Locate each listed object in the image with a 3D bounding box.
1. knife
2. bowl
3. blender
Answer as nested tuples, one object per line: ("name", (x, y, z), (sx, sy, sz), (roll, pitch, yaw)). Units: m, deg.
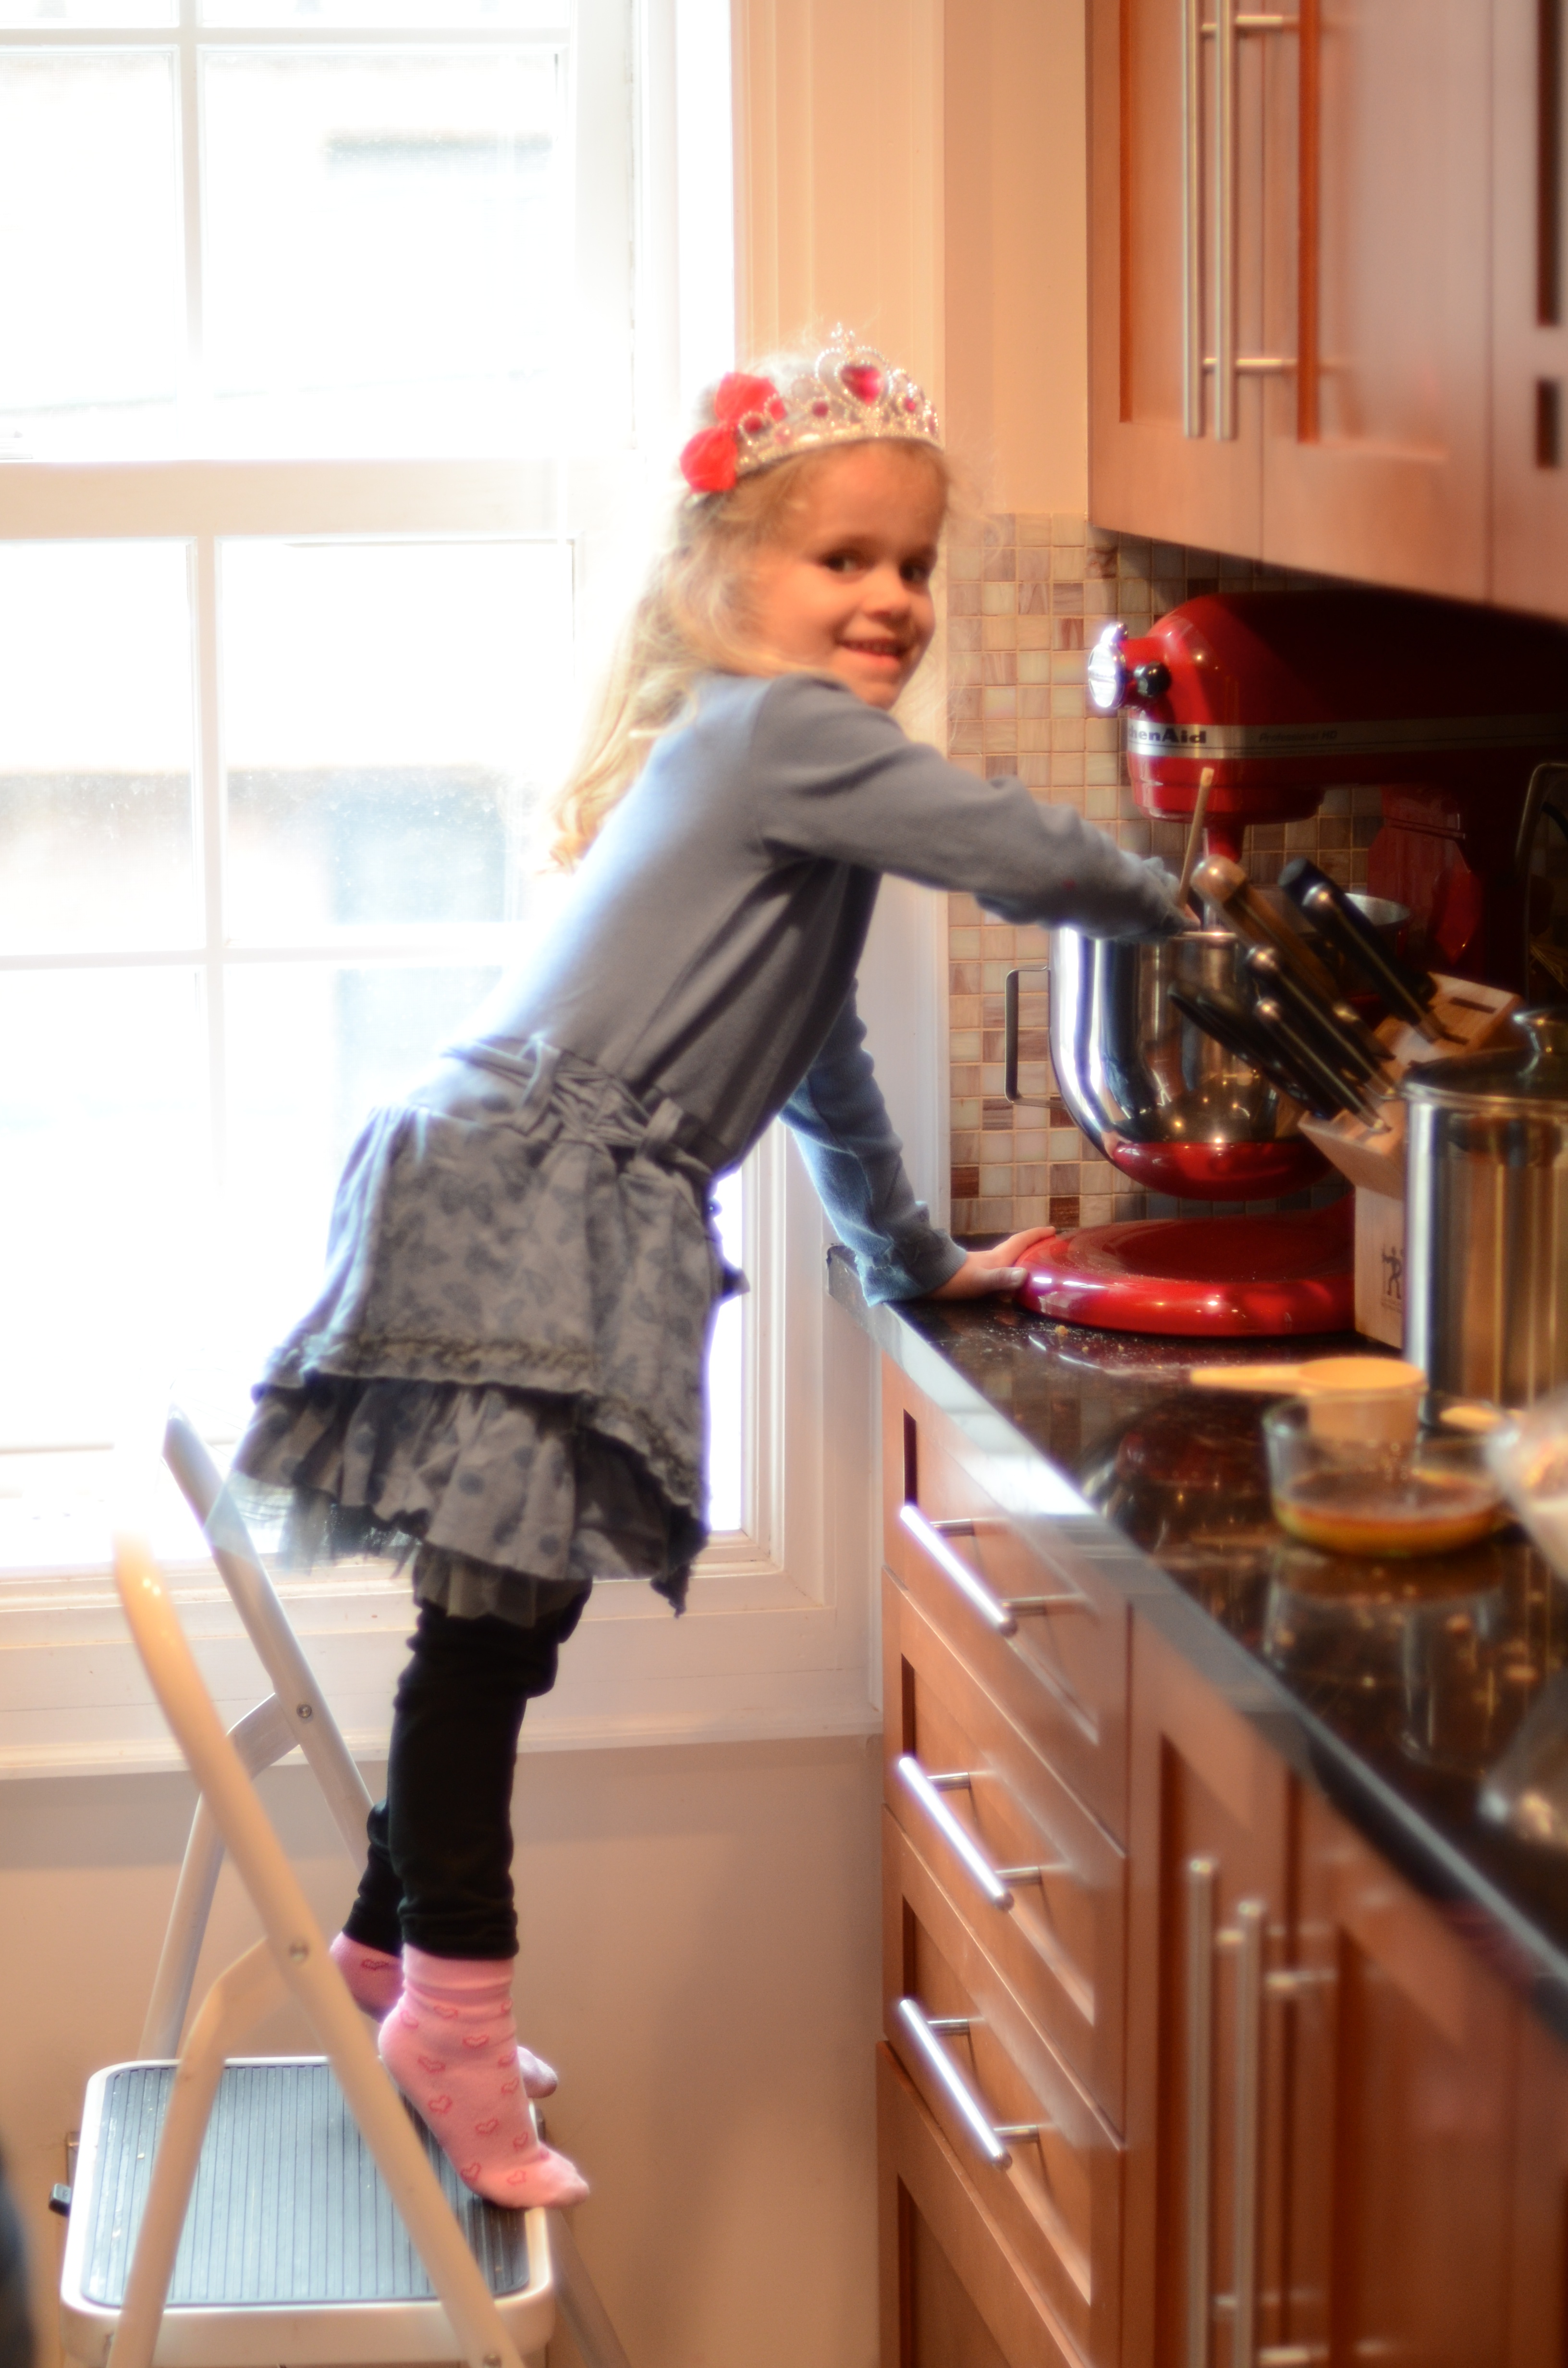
("knife", (0.301, -0.116, 1.249), (0.061, 0.172, 0.129), (-4, 44, 43))
("bowl", (0.272, 0.147, 0.979), (0.112, 0.059, 0.134), (1, -3, -5))
("blender", (0.312, -0.159, 1.415), (0.277, 0.469, 0.258), (0, 7, 10))
